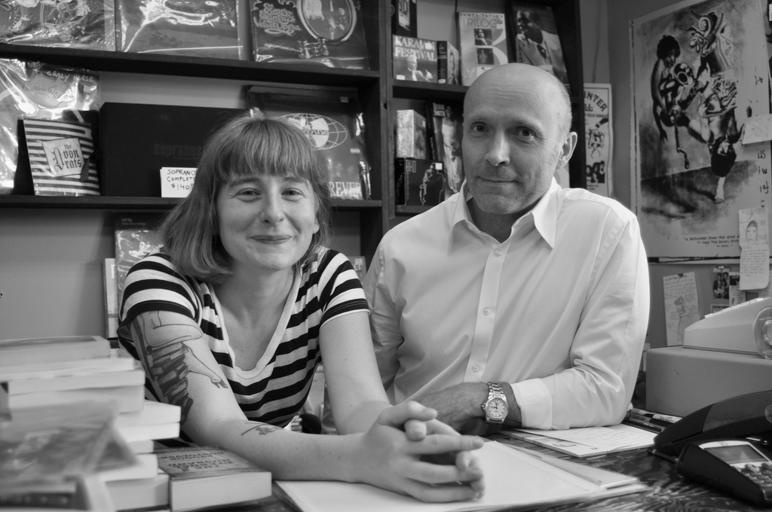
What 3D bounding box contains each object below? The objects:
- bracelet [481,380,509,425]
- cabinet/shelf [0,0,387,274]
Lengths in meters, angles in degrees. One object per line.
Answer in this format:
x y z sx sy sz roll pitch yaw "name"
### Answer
0.284 0.385 1.587 0.051 0.077 0.103 5 -10 -2 "bracelet"
-0.798 -0.466 2.309 1.142 1.079 0.348 4 -11 -13 "cabinet/shelf"
